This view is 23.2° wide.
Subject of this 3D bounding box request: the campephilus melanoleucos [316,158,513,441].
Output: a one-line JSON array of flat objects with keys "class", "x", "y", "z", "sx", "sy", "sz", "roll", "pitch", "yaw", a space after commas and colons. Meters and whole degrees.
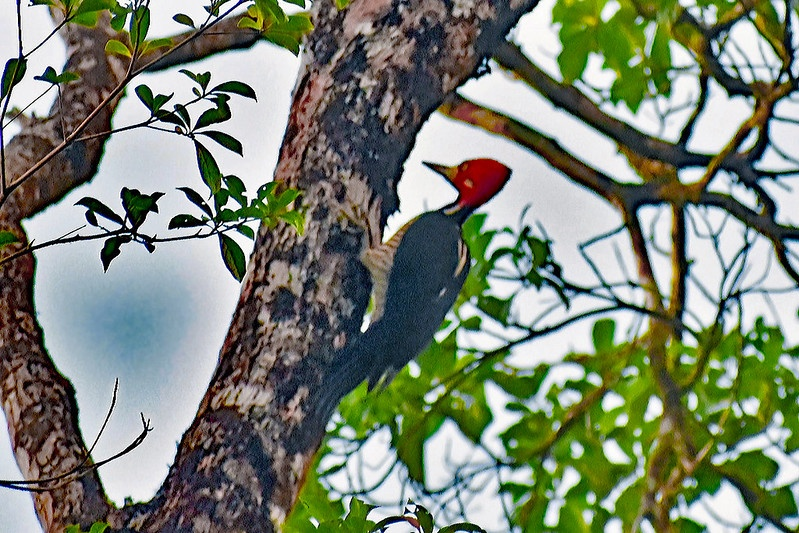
[{"class": "campephilus melanoleucos", "x": 0.037, "y": 0.041, "z": 5.398, "sx": 0.670, "sy": 0.482, "sz": 0.773, "roll": 10, "pitch": -90, "yaw": 6}]
